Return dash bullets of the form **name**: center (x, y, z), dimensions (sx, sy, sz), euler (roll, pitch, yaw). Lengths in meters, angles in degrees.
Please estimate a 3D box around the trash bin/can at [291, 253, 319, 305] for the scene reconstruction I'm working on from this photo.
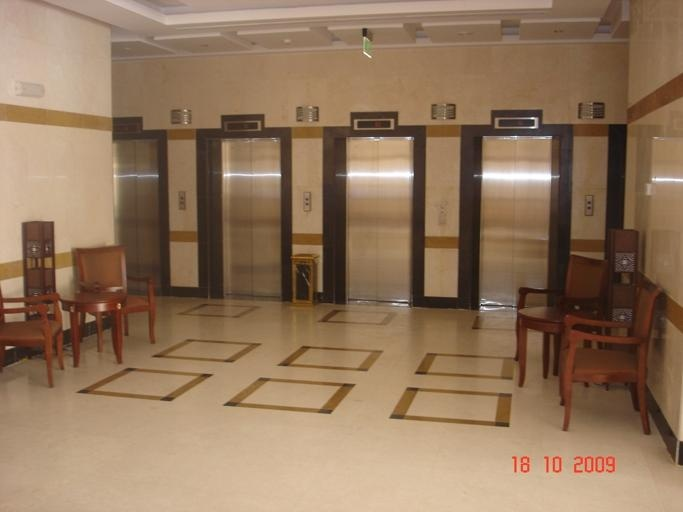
- **trash bin/can**: center (-0.648, 0.423, 9.610), dimensions (0.430, 0.853, 0.256), euler (-2, 10, -9)
